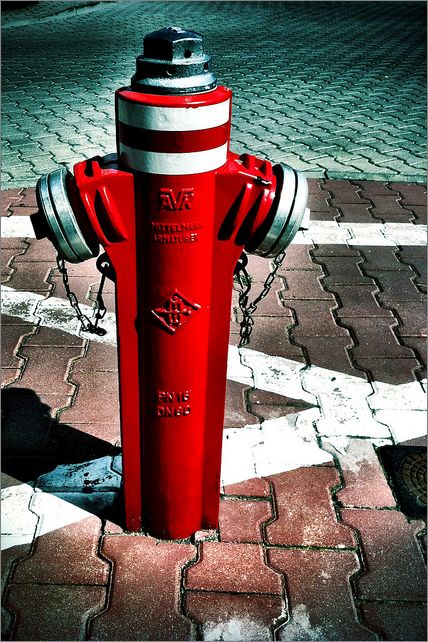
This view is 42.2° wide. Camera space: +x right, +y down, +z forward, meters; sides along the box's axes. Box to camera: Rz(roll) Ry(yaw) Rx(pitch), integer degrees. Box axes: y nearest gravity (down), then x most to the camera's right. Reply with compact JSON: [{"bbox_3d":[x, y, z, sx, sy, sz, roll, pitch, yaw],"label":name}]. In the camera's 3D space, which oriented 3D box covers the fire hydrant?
[{"bbox_3d":[-0.102,0.040,1.832,0.721,1.761,0.610,-17,48,-19],"label":"fire hydrant"}]
